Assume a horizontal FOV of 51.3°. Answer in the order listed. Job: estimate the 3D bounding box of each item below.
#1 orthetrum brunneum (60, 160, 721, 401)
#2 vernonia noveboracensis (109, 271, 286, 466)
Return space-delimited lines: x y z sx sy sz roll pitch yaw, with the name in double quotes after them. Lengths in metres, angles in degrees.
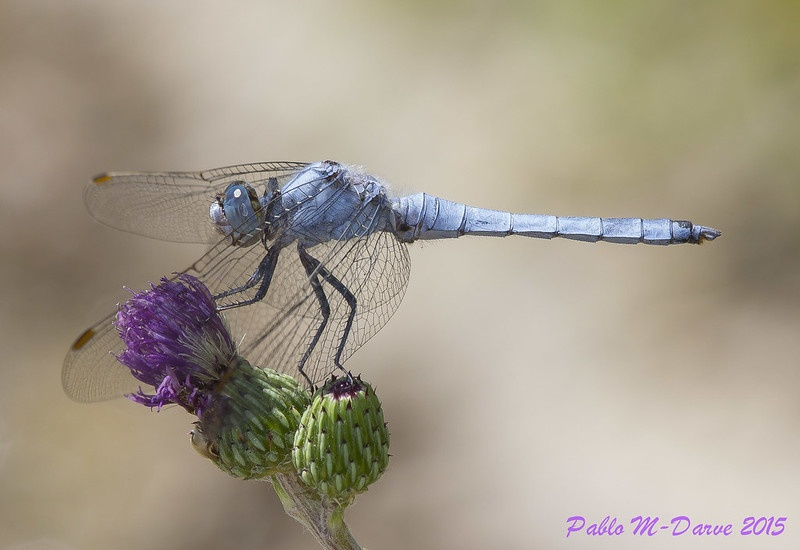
-0.064 -0.059 4.202 2.833 1.761 1.009 6 -78 39 "orthetrum brunneum"
-0.820 0.460 3.609 0.981 0.458 0.455 40 -70 -15 "vernonia noveboracensis"
